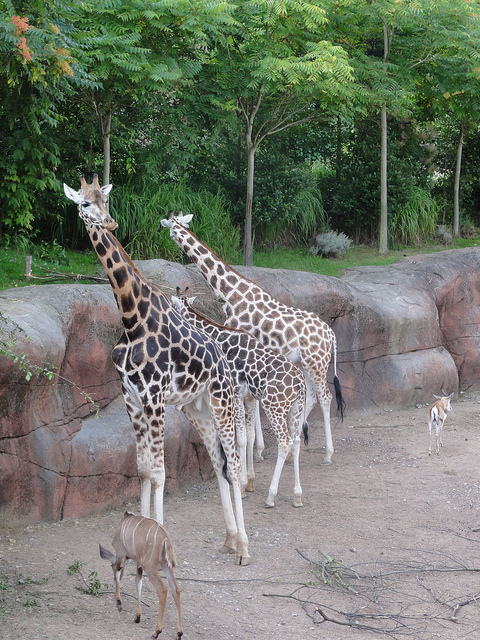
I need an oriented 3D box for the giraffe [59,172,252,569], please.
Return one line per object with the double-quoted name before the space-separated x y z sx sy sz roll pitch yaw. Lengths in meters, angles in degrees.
"giraffe" -0.754 0.186 10.415 1.589 3.405 5.400 1 12 -5
